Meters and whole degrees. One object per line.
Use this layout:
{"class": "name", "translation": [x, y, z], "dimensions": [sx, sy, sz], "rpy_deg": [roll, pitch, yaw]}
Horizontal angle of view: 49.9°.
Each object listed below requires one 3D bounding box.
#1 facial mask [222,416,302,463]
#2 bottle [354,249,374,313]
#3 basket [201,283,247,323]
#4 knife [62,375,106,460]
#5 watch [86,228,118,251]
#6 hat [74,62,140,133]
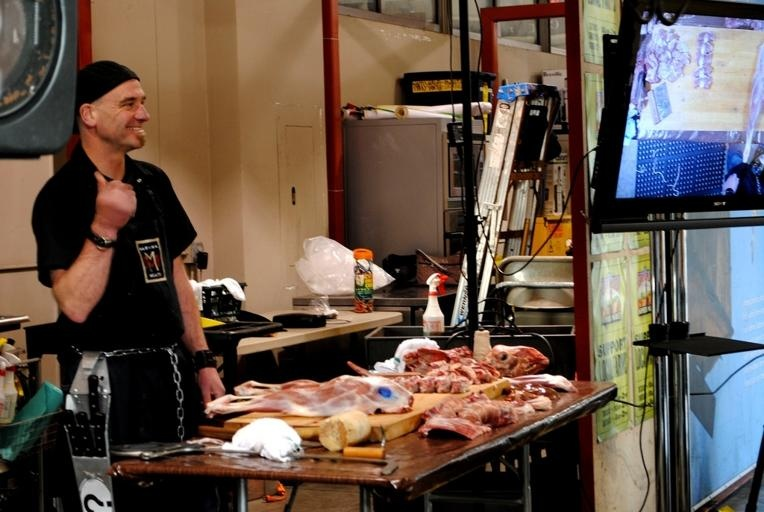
{"class": "facial mask", "translation": [-0.371, 0.585, 2.771], "dimensions": [0.253, 0.117, 0.269], "rpy_deg": [2, 7, 10]}
{"class": "bottle", "translation": [-0.133, 0.176, 5.910], "dimensions": [0.125, 0.477, 0.191], "rpy_deg": [-1, 10, -2]}
{"class": "basket", "translation": [-0.977, 0.288, 5.169], "dimensions": [0.186, 0.309, 0.356], "rpy_deg": [4, 2, 30]}
{"class": "knife", "translation": [-1.021, 0.564, 2.885], "dimensions": [0.190, 0.266, 0.110], "rpy_deg": [5, 11, 29]}
{"class": "watch", "translation": [-1.014, -0.064, 2.973], "dimensions": [0.095, 0.075, 0.036], "rpy_deg": [-4, 11, -19]}
{"class": "hat", "translation": [-1.035, -0.590, 3.085], "dimensions": [0.226, 0.325, 0.269], "rpy_deg": [-6, 21, -13]}
